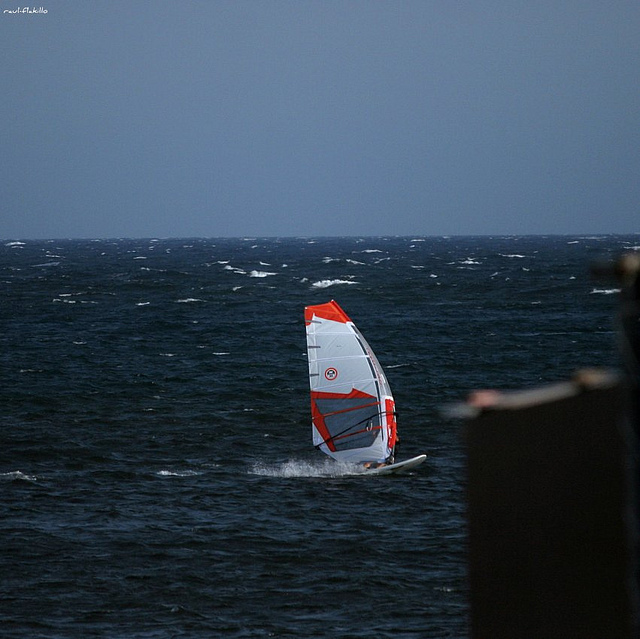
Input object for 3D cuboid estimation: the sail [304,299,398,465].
[{"bbox_3d":[1.163,2.368,49.911,2.894,2.479,6.072,-11,96,-29],"label":"sail"}]
